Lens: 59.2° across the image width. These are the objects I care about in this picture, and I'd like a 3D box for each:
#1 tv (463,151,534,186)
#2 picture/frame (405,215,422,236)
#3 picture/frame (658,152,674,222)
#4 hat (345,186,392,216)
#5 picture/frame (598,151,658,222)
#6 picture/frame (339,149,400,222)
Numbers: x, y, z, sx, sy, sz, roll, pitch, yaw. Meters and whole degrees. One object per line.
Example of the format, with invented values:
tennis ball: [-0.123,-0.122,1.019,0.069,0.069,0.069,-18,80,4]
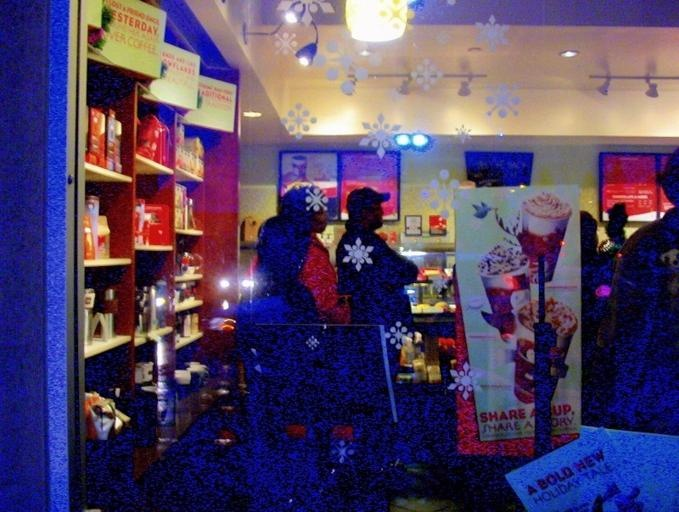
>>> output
tv: [0.439,-0.235,1.631,0.181,0.104,0.006,0,-5,2]
picture/frame: [0.202,-0.087,1.627,0.056,0.063,0.008,0,-2,3]
picture/frame: [0.884,-0.189,1.614,0.040,0.165,0.043,0,2,15]
hat: [0.081,-0.159,1.643,0.104,0.051,0.065,-17,19,1]
picture/frame: [0.765,-0.192,1.594,0.188,0.218,0.017,1,-1,-5]
picture/frame: [0.089,-0.203,1.639,0.200,0.209,0.016,1,-1,2]
